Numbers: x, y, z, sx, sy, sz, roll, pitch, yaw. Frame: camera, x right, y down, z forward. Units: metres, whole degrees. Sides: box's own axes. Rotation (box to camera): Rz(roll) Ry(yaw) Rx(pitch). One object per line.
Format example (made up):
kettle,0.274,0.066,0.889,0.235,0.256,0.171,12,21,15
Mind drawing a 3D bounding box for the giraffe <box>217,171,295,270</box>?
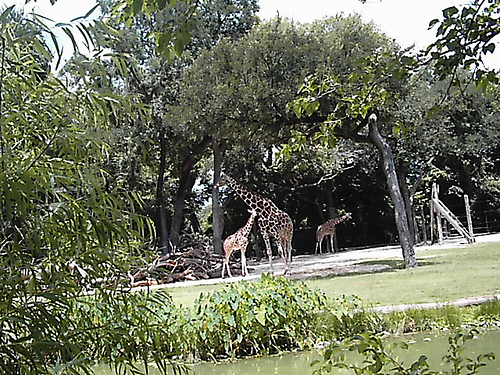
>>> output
giraffe,0.296,0.739,12.656,1.361,2.150,0.934,-5,-10,1
